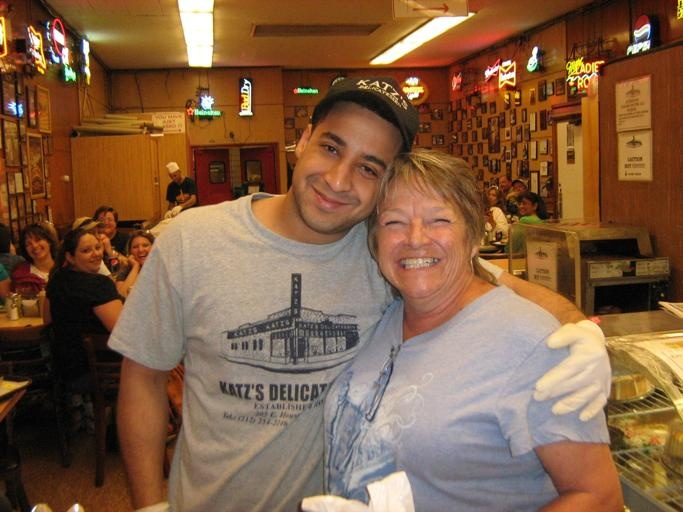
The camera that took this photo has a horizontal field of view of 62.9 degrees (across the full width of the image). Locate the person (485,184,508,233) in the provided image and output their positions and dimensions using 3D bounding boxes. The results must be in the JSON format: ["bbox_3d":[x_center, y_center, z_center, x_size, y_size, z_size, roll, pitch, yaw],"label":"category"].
[{"bbox_3d":[2.578,-0.895,9.462,0.365,0.290,0.863,-6,-35,9],"label":"person"}]

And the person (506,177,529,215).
[{"bbox_3d":[3.201,-1.150,9.768,0.337,0.263,0.768,-14,-38,26],"label":"person"}]

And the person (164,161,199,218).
[{"bbox_3d":[-2.543,-1.092,8.877,0.539,0.925,0.895,-11,-1,-14],"label":"person"}]

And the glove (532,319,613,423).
[{"bbox_3d":[0.678,0.326,1.591,0.293,0.251,0.131,-4,5,-44],"label":"glove"}]

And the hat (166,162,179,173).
[{"bbox_3d":[-2.706,-1.412,8.910,0.152,0.156,0.199,-3,26,-3],"label":"hat"}]

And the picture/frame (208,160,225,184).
[{"bbox_3d":[-2.801,-1.906,12.378,0.481,0.687,0.068,-1,13,-6],"label":"picture/frame"}]

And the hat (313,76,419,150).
[{"bbox_3d":[0.144,-0.571,2.049,0.315,0.209,0.395,15,3,1],"label":"hat"}]

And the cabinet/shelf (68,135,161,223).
[{"bbox_3d":[-3.770,-1.624,9.149,1.284,1.539,1.652,-9,42,-26],"label":"cabinet/shelf"}]
